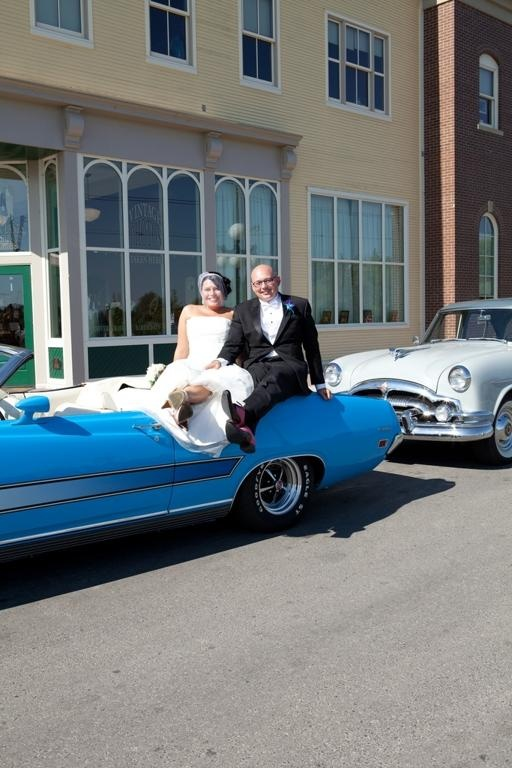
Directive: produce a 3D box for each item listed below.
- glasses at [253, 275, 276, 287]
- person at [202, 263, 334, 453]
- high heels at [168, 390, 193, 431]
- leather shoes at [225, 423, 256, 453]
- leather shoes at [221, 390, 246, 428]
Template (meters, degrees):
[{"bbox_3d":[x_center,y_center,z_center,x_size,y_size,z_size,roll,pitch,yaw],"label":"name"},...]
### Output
[{"bbox_3d":[0.060,-0.738,4.554,0.162,0.102,0.096,-2,1,-1],"label":"glasses"},{"bbox_3d":[0.028,-0.253,4.254,0.807,0.985,1.556,0,16,13],"label":"person"},{"bbox_3d":[-0.440,0.122,3.624,0.094,0.279,0.109,-4,20,26],"label":"high heels"},{"bbox_3d":[-0.095,0.314,3.769,0.140,0.199,0.078,-20,29,17],"label":"leather shoes"},{"bbox_3d":[-0.126,0.147,3.742,0.085,0.271,0.099,-8,12,44],"label":"leather shoes"}]
